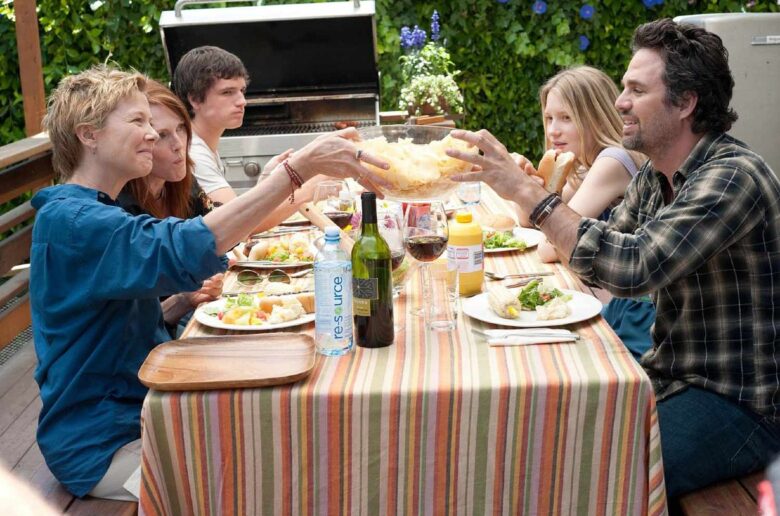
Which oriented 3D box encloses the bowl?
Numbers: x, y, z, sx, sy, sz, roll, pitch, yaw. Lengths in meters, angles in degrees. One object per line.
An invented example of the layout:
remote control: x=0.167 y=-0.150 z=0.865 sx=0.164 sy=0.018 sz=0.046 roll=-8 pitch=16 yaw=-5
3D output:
bowl: x=0.076 y=-0.294 z=1.832 sx=0.410 sy=0.223 sz=0.421 roll=1 pitch=13 yaw=0

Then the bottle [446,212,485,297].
bottle: x=0.256 y=-0.024 z=2.018 sx=0.142 sy=0.263 sz=0.141 roll=-2 pitch=13 yaw=1

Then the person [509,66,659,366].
person: x=1.011 y=-0.269 z=3.152 sx=0.714 sy=1.440 sz=0.499 roll=-16 pitch=31 yaw=6

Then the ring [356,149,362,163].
ring: x=-0.094 y=-0.308 z=1.746 sx=0.010 sy=0.031 sz=0.030 roll=12 pitch=-18 yaw=-13

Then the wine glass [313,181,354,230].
wine glass: x=-0.212 y=-0.213 z=2.295 sx=0.151 sy=0.213 sz=0.185 roll=0 pitch=1 yaw=-7

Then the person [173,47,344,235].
person: x=-0.802 y=-0.617 z=3.264 sx=1.031 sy=1.070 sz=0.651 roll=6 pitch=11 yaw=30

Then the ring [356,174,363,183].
ring: x=-0.096 y=-0.246 z=1.806 sx=0.015 sy=0.022 sz=0.013 roll=-5 pitch=17 yaw=5

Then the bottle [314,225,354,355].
bottle: x=-0.159 y=0.088 z=1.644 sx=0.111 sy=0.358 sz=0.113 roll=0 pitch=17 yaw=0

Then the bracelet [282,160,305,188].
bracelet: x=-0.291 y=-0.250 z=1.779 sx=0.016 sy=0.068 sz=0.068 roll=-44 pitch=57 yaw=-9

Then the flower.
flower: x=0.303 y=-1.512 z=4.683 sx=0.446 sy=0.721 sz=0.500 roll=-5 pitch=-1 yaw=26
